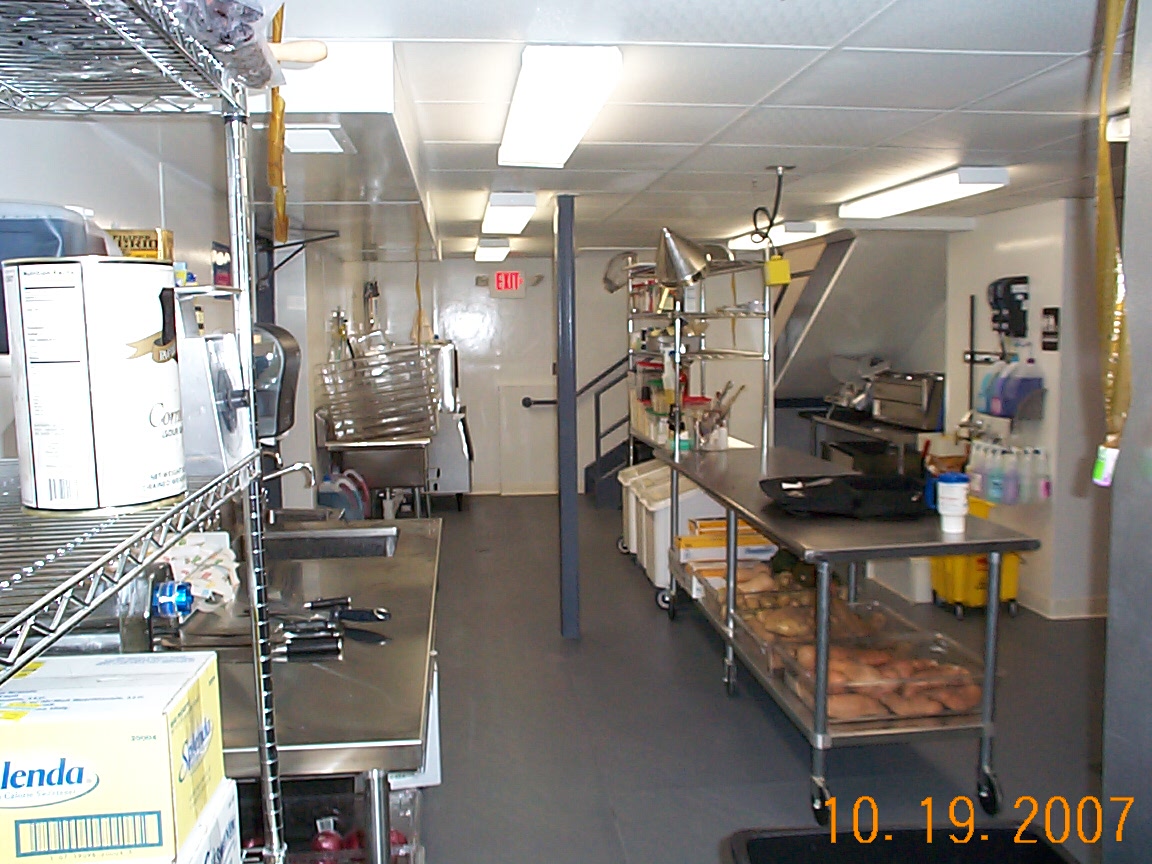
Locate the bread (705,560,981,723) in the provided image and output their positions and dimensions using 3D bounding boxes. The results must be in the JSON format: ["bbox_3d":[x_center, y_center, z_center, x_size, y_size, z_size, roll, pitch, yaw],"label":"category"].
[{"bbox_3d":[1.032,0.859,3.592,0.756,0.201,1.519,1,3,-6],"label":"bread"}]

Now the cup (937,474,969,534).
[{"bbox_3d":[1.281,0.235,3.016,0.094,0.188,0.265,3,9,23],"label":"cup"}]

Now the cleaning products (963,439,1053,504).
[{"bbox_3d":[2.468,0.240,5.027,0.392,0.346,0.142,0,0,7],"label":"cleaning products"}]
